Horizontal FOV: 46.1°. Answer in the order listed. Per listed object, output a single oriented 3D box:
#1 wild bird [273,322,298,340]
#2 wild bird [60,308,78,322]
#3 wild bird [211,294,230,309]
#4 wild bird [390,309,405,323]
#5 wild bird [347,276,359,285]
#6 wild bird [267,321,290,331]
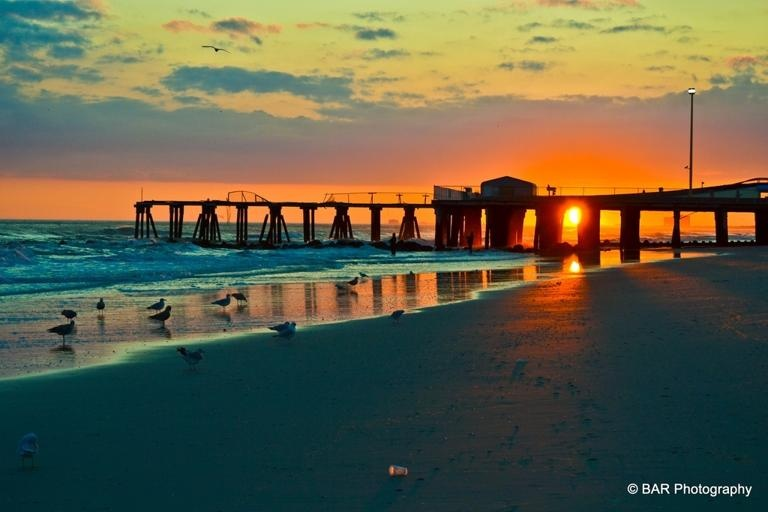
[{"bbox_3d":[-1.882,1.390,17.101,0.533,0.299,0.246,6,12,40],"label":"wild bird"},{"bbox_3d":[-6.908,1.282,19.905,0.318,0.298,0.514,-4,-5,5],"label":"wild bird"},{"bbox_3d":[-3.937,1.084,21.571,0.675,0.368,0.334,1,7,7],"label":"wild bird"},{"bbox_3d":[0.297,1.229,19.297,0.287,0.247,0.738,-3,6,-2],"label":"wild bird"},{"bbox_3d":[-0.861,0.726,26.514,0.224,0.218,0.382,-5,2,-38],"label":"wild bird"},{"bbox_3d":[-2.068,1.373,17.968,0.457,0.225,0.139,2,41,11],"label":"wild bird"}]
